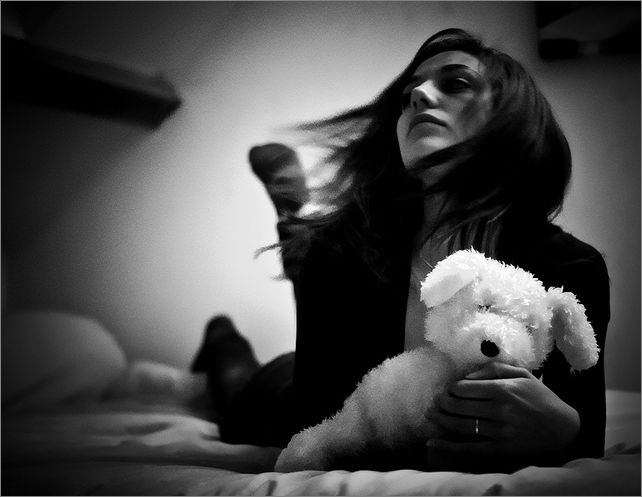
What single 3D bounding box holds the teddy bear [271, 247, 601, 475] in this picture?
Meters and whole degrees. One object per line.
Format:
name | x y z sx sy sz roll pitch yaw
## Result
teddy bear | 0.422 0.574 2.826 0.608 0.787 1.184 23 -30 -21
